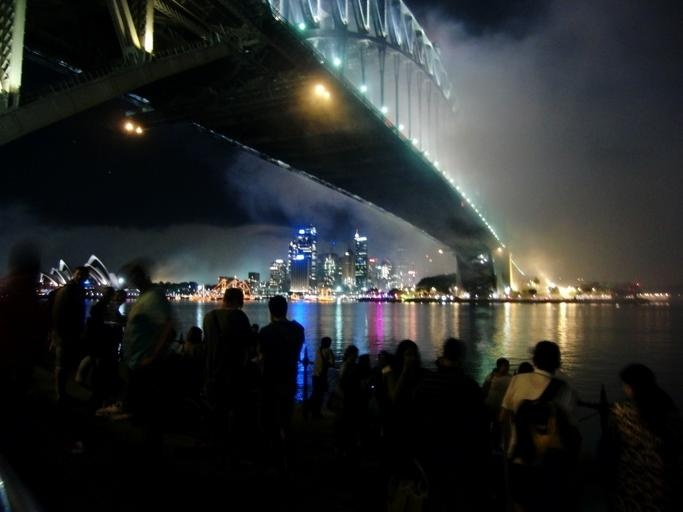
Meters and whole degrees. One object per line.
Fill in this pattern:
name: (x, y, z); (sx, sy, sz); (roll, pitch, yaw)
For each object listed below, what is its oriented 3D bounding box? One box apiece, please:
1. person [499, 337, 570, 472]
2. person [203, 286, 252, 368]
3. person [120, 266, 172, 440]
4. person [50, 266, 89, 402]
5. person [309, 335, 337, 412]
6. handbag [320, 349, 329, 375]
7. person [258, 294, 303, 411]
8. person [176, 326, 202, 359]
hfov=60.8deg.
person: (2.243, 1.654, 6.670); (0.766, 1.391, 0.305); (-1, -4, 16)
person: (-1.562, 0.972, 7.997); (0.541, 1.141, 0.840); (2, -4, -24)
person: (-2.633, 1.236, 7.940); (0.698, 2.363, 0.520); (1, -4, -17)
person: (-4.515, 1.253, 9.580); (0.506, 2.209, 0.621); (2, -4, -28)
person: (-0.393, 2.311, 11.302); (0.452, 1.467, 0.622); (0, -4, -3)
handbag: (-0.337, 2.005, 11.133); (0.112, 0.379, 0.242); (6, -5, -16)
person: (-0.807, 1.295, 7.823); (0.616, 1.560, 0.581); (1, -4, -17)
person: (-2.786, 1.552, 10.736); (0.438, 0.533, 0.980); (1, -4, -15)
